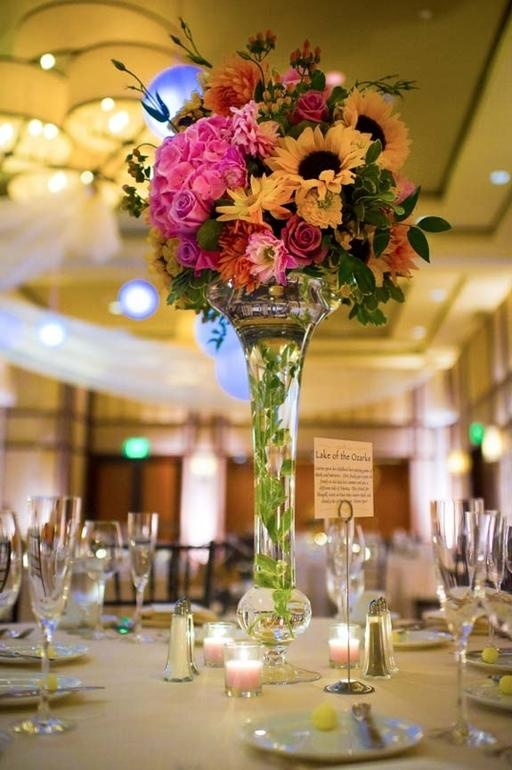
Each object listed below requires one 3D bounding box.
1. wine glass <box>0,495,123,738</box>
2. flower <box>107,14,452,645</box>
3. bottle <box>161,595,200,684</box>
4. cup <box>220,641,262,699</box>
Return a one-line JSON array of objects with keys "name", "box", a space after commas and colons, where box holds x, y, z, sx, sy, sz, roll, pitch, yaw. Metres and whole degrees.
[{"name": "wine glass", "box": [-0.253, 0.267, 0.861, 0.116, 0.248, 0.297, 2, -12, -12]}, {"name": "flower", "box": [0.046, -0.203, 1.089, 0.557, 1.074, 0.347, 2, -12, -11]}, {"name": "bottle", "box": [-0.114, 0.377, 1.035, 0.048, 0.107, 0.140, 1, -12, -5]}, {"name": "cup", "box": [-0.016, 0.373, 0.898, 0.057, 0.059, 0.058, 1, -17, 0]}]
